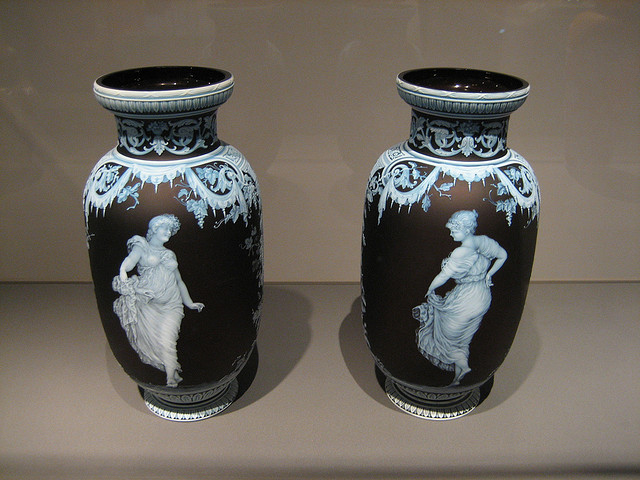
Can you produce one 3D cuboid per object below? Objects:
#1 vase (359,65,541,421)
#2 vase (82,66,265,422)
[{"bbox_3d":[0.478,0.011,2.974,0.668,1.210,0.289,5,15,17],"label":"vase"},{"bbox_3d":[-0.541,0.008,2.947,0.656,1.204,0.297,-5,15,-19],"label":"vase"}]
